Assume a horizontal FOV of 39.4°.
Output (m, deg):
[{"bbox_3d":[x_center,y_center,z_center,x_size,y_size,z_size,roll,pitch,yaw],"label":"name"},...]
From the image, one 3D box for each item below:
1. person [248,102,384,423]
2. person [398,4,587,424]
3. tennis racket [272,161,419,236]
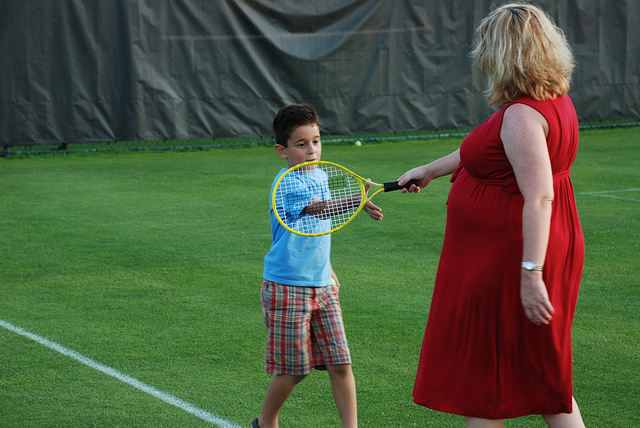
[{"bbox_3d":[-0.120,0.437,7.444,0.936,2.646,0.651,-3,9,2],"label":"person"},{"bbox_3d":[1.428,0.030,7.003,1.214,3.270,0.623,-1,9,12],"label":"person"},{"bbox_3d":[0.031,-0.146,7.572,0.997,0.628,0.526,-8,10,-27],"label":"tennis racket"}]
